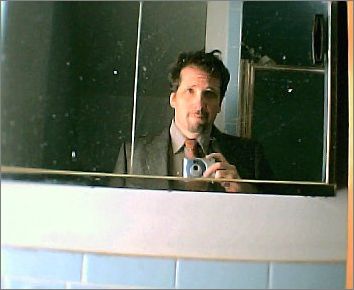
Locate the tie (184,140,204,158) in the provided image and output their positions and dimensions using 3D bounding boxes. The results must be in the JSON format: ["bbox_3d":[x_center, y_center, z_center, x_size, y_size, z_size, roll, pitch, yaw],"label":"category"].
[{"bbox_3d":[0.041,0.012,1.064,0.032,0.051,0.016,-3,6,-1],"label":"tie"}]
